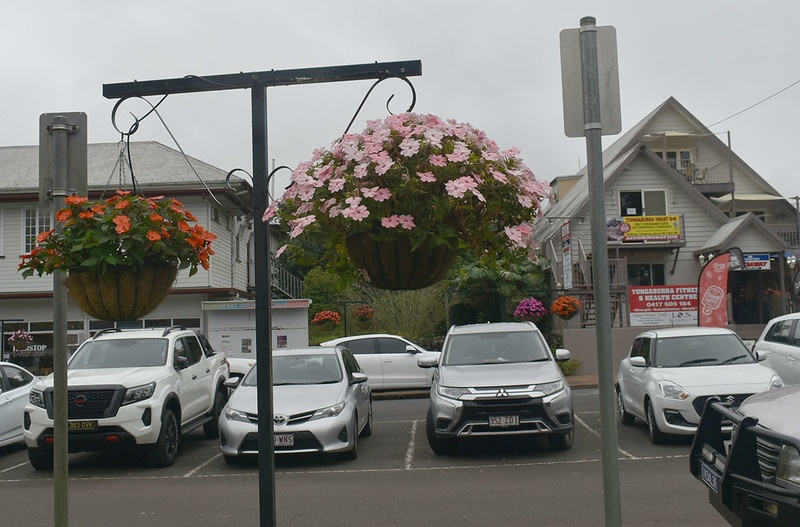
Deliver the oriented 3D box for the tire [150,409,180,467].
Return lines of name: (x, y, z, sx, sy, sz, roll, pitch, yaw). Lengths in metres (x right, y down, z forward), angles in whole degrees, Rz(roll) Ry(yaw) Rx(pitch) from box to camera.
tire: (-5.153, 3.793, 27.598, 0.320, 1.015, 1.013, -5, -18, 15)

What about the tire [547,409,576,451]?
tire: (3.396, 3.552, 27.208, 0.328, 0.902, 0.898, 0, -5, 34)

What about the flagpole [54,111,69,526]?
flagpole: (-5.907, 1.015, 22.064, 0.402, 7.033, 0.705, 0, -1, -17)

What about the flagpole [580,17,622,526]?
flagpole: (3.330, 0.183, 21.437, 0.549, 8.532, 0.768, -1, -1, 21)

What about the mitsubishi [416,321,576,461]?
mitsubishi: (2.102, 2.831, 27.841, 3.069, 2.637, 1.966, 0, -1, 2)

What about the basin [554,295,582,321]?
basin: (4.977, 1.412, 38.666, 0.726, 0.739, 0.729, 2, -6, 0)

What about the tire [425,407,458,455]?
tire: (0.894, 3.606, 27.385, 0.457, 1.225, 1.056, 1, 2, 3)

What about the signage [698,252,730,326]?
signage: (9.121, 0.799, 37.238, 0.864, 2.114, 0.464, -1, -1, 11)

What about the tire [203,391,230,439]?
tire: (-4.264, 3.500, 29.213, 0.377, 1.171, 1.163, -3, -3, 7)

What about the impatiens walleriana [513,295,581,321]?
impatiens walleriana: (4.391, 1.426, 38.692, 1.607, 0.872, 0.637, -4, -40, 4)

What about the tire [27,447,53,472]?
tire: (-7.817, 4.245, 27.643, 0.660, 0.672, 0.238, -2, 1, 1)
